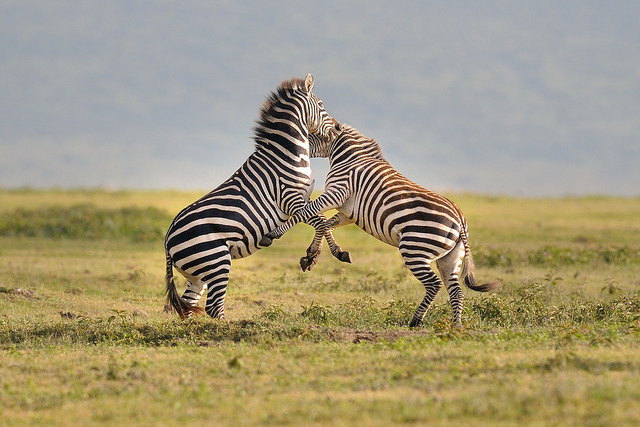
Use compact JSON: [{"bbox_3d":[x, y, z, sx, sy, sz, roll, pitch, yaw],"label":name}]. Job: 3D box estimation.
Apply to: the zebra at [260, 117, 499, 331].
[{"bbox_3d":[1.228,0.216,19.567,3.122,3.319,1.255,2,10,15],"label":"zebra"}]
